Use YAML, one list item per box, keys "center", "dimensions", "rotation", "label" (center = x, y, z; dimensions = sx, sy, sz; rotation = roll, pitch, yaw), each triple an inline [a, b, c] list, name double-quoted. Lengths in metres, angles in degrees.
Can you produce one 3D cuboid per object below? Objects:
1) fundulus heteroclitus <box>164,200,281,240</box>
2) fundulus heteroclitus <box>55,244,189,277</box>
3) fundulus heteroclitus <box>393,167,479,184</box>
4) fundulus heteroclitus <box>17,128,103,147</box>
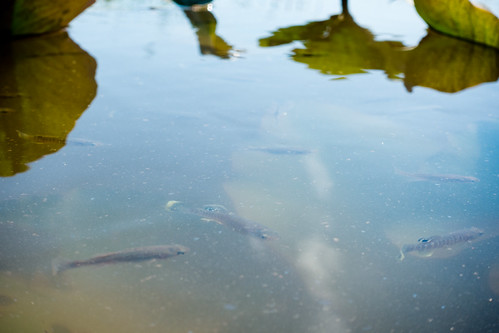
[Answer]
- center: [-0.131, 0.225, 1.890]
  dimensions: [0.383, 0.055, 0.072]
  rotation: [14, 52, 1]
  label: "fundulus heteroclitus"
- center: [-0.511, 0.372, 1.798]
  dimensions: [0.637, 0.078, 0.071]
  rotation: [-11, 4, 17]
  label: "fundulus heteroclitus"
- center: [0.823, 0.041, 2.021]
  dimensions: [0.333, 0.049, 0.061]
  rotation: [2, 58, 4]
  label: "fundulus heteroclitus"
- center: [-0.878, -0.130, 2.047]
  dimensions: [0.303, 0.046, 0.049]
  rotation: [8, 62, -8]
  label: "fundulus heteroclitus"
